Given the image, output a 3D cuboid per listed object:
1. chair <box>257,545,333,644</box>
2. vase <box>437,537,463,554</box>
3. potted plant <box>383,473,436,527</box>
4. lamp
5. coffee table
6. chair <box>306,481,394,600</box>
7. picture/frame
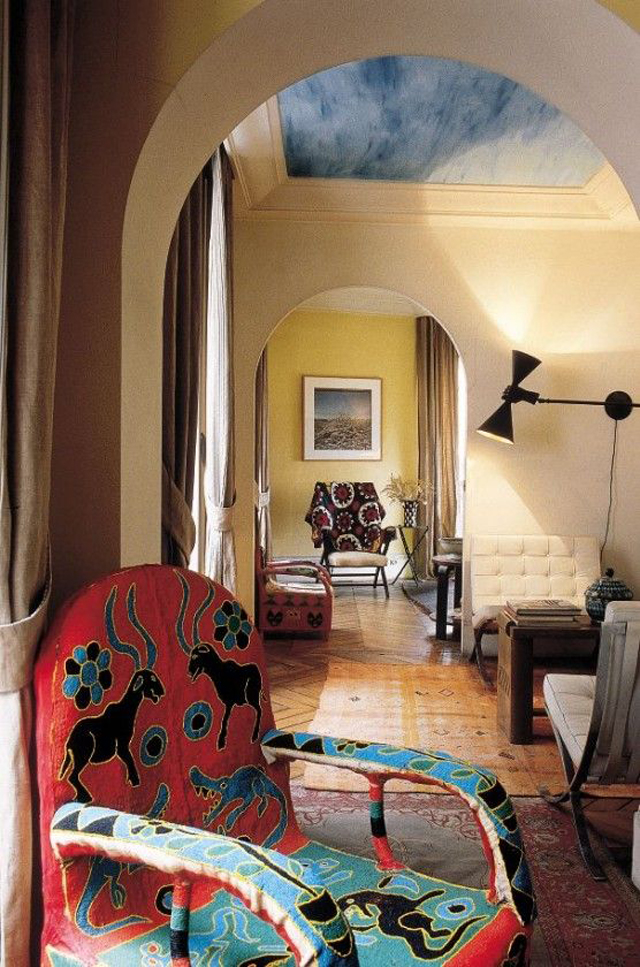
[{"bbox_3d":[-0.184,0.661,4.898,0.511,0.685,0.672,1,-4,-8],"label":"chair"},{"bbox_3d":[0.871,0.398,4.790,0.259,0.119,0.279,0,-4,15],"label":"vase"},{"bbox_3d":[0.892,0.174,7.257,0.455,0.566,0.463,1,-8,0],"label":"potted plant"},{"bbox_3d":[1.318,-0.502,4.133,0.635,0.451,0.826,0,0,38],"label":"lamp"},{"bbox_3d":[0.890,0.739,3.082,0.518,0.558,0.425,1,-4,0],"label":"coffee table"},{"bbox_3d":[0.275,0.530,6.638,0.857,1.087,0.877,-1,-1,12],"label":"chair"},{"bbox_3d":[0.187,-0.665,7.293,0.776,0.892,0.061,1,-1,-11],"label":"picture/frame"}]
